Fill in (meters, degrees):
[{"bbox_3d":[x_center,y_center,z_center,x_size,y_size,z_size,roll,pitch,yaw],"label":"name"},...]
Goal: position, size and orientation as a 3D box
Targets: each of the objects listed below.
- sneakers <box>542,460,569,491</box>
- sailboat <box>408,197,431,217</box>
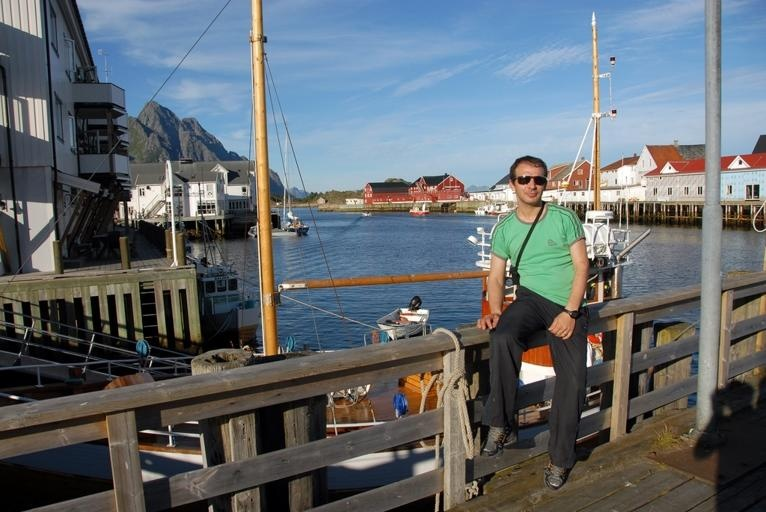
[{"bbox_3d":[1.891,2.399,8.048,0.273,0.281,0.235,-8,0,12],"label":"sneakers"},{"bbox_3d":[7.697,-10.087,156.261,2.310,3.874,6.948,-1,2,-21],"label":"sailboat"}]
